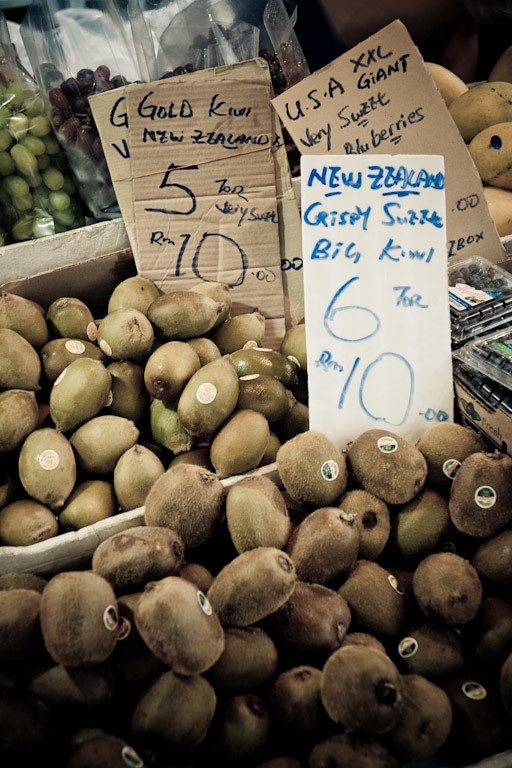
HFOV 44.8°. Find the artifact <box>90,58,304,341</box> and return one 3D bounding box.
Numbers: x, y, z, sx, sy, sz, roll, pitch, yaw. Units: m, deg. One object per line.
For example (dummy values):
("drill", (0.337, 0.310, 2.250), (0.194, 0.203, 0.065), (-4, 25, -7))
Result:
("artifact", (-0.201, -0.760, 2.311), (0.606, 0.885, 0.217), (1, 49, 4))
